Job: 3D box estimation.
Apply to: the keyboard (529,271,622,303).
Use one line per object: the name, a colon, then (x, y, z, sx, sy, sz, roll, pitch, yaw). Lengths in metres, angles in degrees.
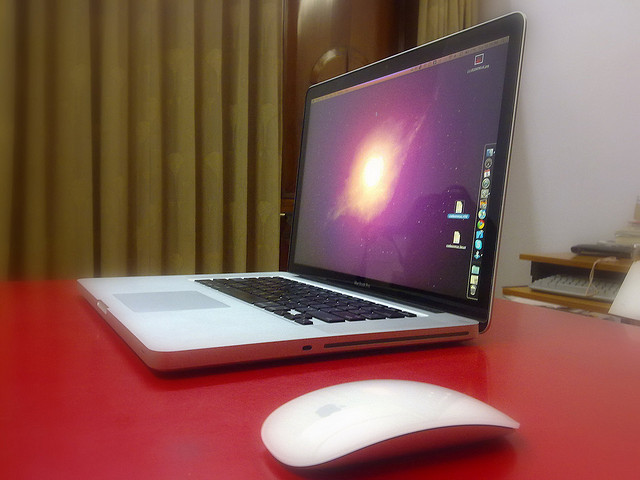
keyboard: (0.762, 0.119, 1.517, 0.229, 0.065, 0.311, 7, 10, 35)

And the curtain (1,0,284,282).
curtain: (-0.598, -0.325, 1.903, 1.047, 0.851, 0.837, 11, 11, -19)

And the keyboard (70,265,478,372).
keyboard: (-0.103, 0.084, 0.699, 0.360, 0.048, 0.534, -4, 10, -34)
